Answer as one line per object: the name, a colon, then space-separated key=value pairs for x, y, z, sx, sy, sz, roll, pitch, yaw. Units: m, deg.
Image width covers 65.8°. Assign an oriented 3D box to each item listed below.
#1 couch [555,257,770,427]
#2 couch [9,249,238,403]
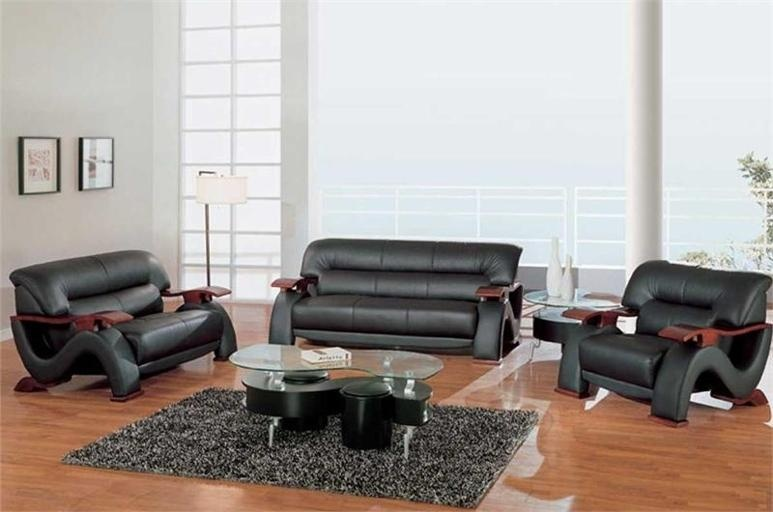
couch: x=2.399 y=0.688 z=5.167 sx=1.383 sy=1.142 sz=1.045 roll=-5 pitch=12 yaw=-26
couch: x=-2.513 y=0.585 z=5.718 sx=1.253 sy=1.125 sz=1.478 roll=5 pitch=11 yaw=23
